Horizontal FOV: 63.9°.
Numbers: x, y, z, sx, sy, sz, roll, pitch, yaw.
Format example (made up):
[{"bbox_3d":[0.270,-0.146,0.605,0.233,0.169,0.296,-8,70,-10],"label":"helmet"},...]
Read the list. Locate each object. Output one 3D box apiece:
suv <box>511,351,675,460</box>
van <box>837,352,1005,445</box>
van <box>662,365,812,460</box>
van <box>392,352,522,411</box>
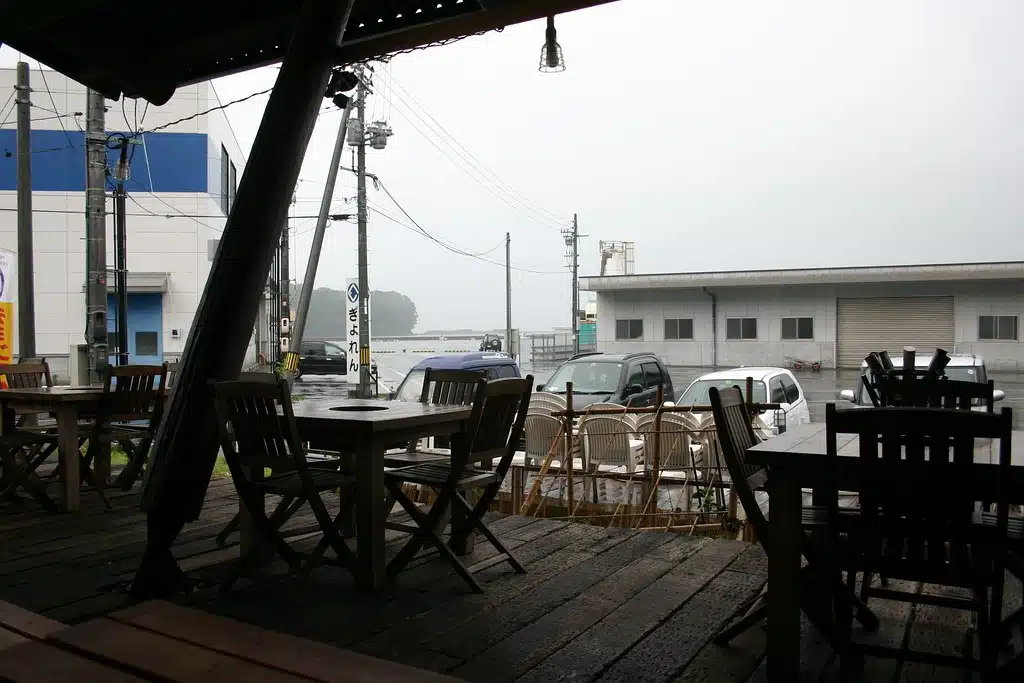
[{"bbox_3d":[1.680,0.844,14.657,1.550,1.298,2.559,-3,-4,31],"label":"suv"},{"bbox_3d":[3.524,0.456,7.099,1.260,1.001,1.985,-4,-15,31],"label":"van"},{"bbox_3d":[3.844,1.056,13.174,1.524,1.188,2.395,-5,-11,37],"label":"van"},{"bbox_3d":[-1.045,0.585,13.991,1.046,0.991,1.849,-8,-11,36],"label":"van"}]
